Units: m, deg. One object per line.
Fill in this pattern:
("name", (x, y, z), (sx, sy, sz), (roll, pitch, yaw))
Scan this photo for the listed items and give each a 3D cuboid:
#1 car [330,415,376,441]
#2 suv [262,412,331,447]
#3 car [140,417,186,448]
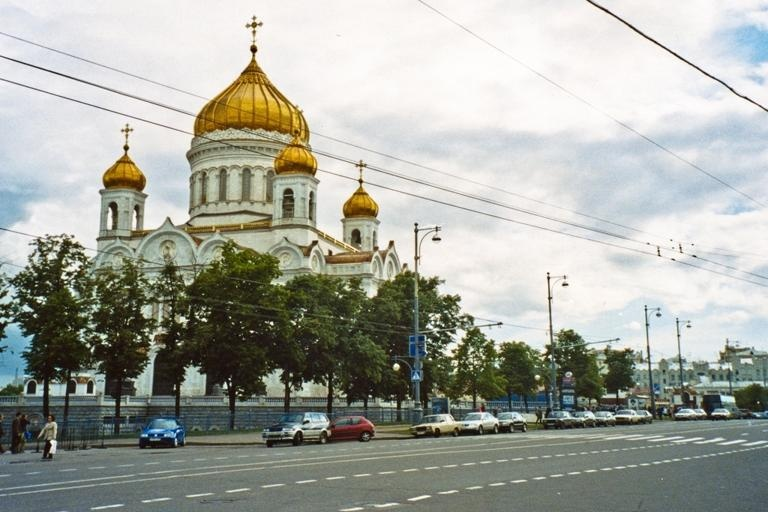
("car", (-1.962, 10.473, 54.014), (2.383, 0.976, 1.327), (7, -13, -15))
("suv", (-5.097, 10.021, 51.798), (2.456, 1.692, 4.239), (-5, -10, 25))
("car", (-12.434, 9.937, 50.094), (2.378, 1.658, 1.566), (2, -16, -16))
